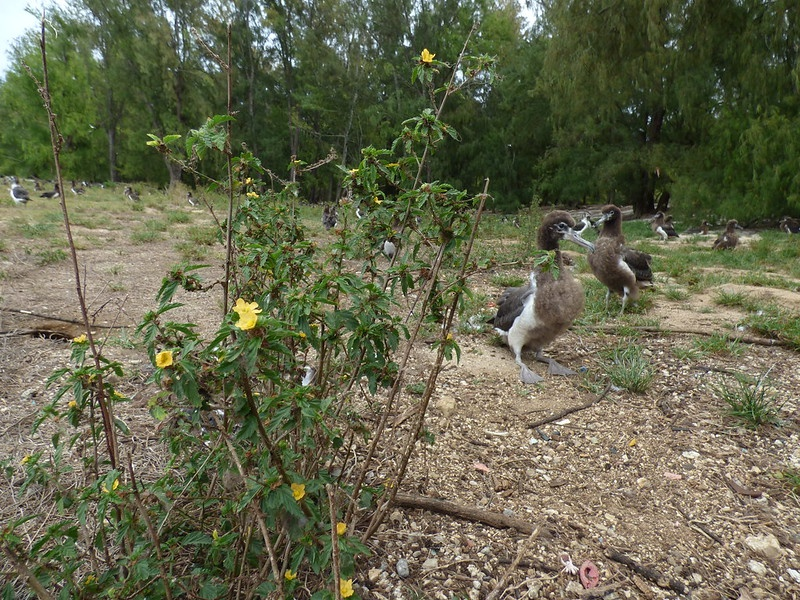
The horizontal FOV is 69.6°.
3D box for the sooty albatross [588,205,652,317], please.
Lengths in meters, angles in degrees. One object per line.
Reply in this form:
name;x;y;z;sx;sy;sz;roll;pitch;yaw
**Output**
sooty albatross;3.295;-0.592;8.578;1.165;1.606;0.742;1;2;-26
